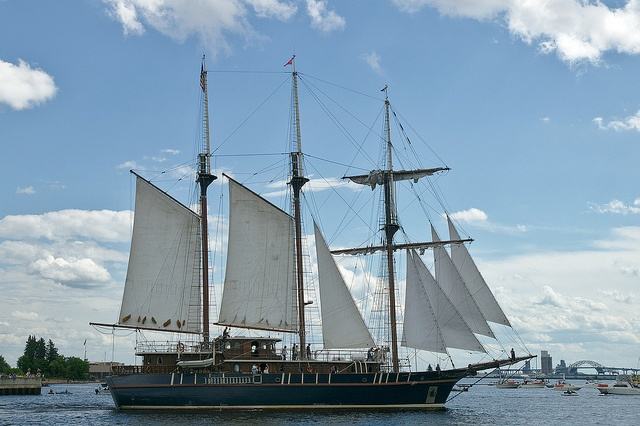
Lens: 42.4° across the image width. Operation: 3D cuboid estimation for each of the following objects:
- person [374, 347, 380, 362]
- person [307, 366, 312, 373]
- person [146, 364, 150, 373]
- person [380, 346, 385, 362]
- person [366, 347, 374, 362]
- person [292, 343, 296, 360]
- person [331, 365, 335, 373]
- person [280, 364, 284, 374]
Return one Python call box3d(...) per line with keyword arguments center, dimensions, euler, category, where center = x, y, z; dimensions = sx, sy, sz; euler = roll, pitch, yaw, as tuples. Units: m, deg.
box3d(center=(8.418, 20.477, 118.498), dimensions=(0.979, 1.877, 0.747), euler=(3, -20, -15), category="person")
box3d(center=(-1.213, 22.008, 115.665), dimensions=(0.759, 0.943, 0.514), euler=(3, -20, -13), category="person")
box3d(center=(-23.874, 21.858, 115.598), dimensions=(0.635, 1.021, 0.367), euler=(1, -19, -8), category="person")
box3d(center=(9.157, 20.465, 119.047), dimensions=(1.249, 2.351, 0.440), euler=(9, -22, -29), category="person")
box3d(center=(7.342, 20.366, 118.393), dimensions=(1.159, 1.800, 0.486), euler=(-2, -19, 0), category="person")
box3d(center=(-3.456, 19.896, 117.740), dimensions=(0.654, 2.351, 1.187), euler=(-1, -19, -2), category="person")
box3d(center=(2.052, 22.095, 116.098), dimensions=(0.643, 1.178, 1.037), euler=(-2, -20, 0), category="person")
box3d(center=(-5.138, 21.825, 115.626), dimensions=(0.621, 0.858, 0.214), euler=(-1, -19, -4), category="person")
